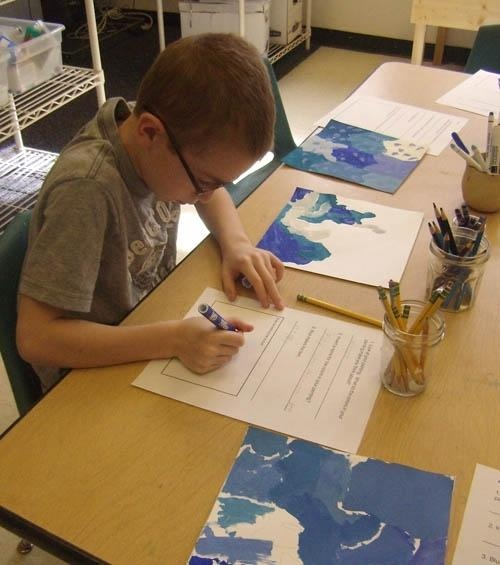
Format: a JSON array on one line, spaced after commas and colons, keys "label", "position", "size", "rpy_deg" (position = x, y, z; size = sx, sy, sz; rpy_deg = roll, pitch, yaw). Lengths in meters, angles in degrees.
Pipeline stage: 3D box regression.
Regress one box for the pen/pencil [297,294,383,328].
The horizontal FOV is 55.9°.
[{"label": "pen/pencil", "position": [0.145, 0.047, 0.760], "size": [0.124, 0.014, 0.012], "rpy_deg": [24, 22, 32]}]
